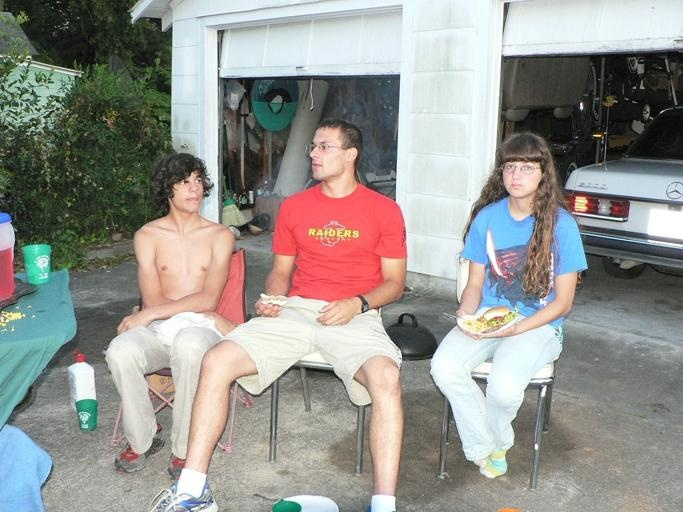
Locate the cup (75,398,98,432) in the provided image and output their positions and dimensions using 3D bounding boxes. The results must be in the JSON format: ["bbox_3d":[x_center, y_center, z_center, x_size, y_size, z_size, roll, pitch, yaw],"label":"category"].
[{"bbox_3d":[-1.680,1.049,3.512,0.157,0.211,0.132,-3,-8,-35],"label":"cup"}]

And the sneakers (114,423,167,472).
[{"bbox_3d":[-1.210,1.156,3.239,0.130,0.141,0.301,9,16,19],"label":"sneakers"}]

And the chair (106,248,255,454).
[{"bbox_3d":[-0.748,0.434,3.374,0.695,0.913,0.658,17,2,34],"label":"chair"}]

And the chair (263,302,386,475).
[{"bbox_3d":[-0.141,0.830,3.477,0.625,0.787,0.787,1,3,9],"label":"chair"}]

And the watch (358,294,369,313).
[{"bbox_3d":[0.138,0.295,3.268,0.068,0.106,0.090,2,-11,-32],"label":"watch"}]

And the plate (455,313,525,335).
[{"bbox_3d":[0.893,0.388,3.087,0.413,0.097,0.197,-1,14,-12],"label":"plate"}]
